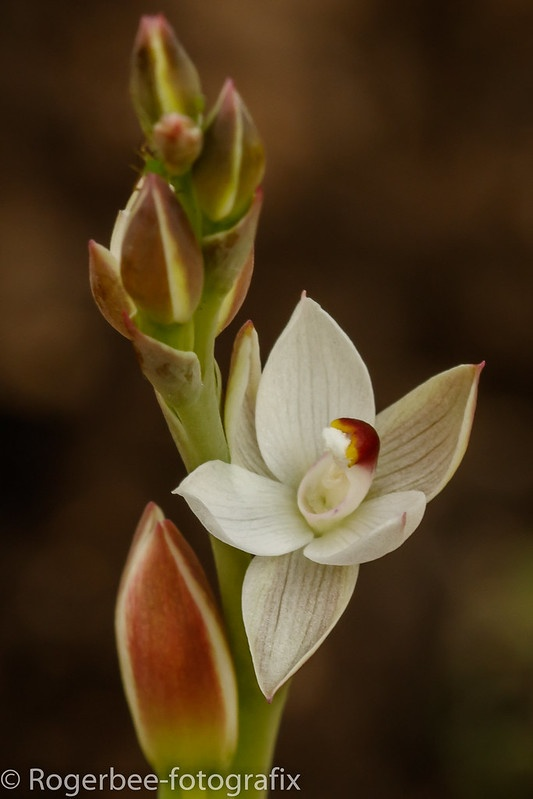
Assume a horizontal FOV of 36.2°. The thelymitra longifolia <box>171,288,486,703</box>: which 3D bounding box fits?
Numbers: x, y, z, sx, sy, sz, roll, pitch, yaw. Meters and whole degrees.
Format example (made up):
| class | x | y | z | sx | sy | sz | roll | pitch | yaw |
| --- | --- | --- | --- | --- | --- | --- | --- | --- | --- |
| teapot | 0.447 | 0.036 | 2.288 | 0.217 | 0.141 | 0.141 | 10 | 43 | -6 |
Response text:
| class | x | y | z | sx | sy | sz | roll | pitch | yaw |
| --- | --- | --- | --- | --- | --- | --- | --- | --- | --- |
| thelymitra longifolia | 0.047 | 0.063 | 0.513 | 0.185 | 0.223 | 0.100 | 7 | 92 | 0 |
